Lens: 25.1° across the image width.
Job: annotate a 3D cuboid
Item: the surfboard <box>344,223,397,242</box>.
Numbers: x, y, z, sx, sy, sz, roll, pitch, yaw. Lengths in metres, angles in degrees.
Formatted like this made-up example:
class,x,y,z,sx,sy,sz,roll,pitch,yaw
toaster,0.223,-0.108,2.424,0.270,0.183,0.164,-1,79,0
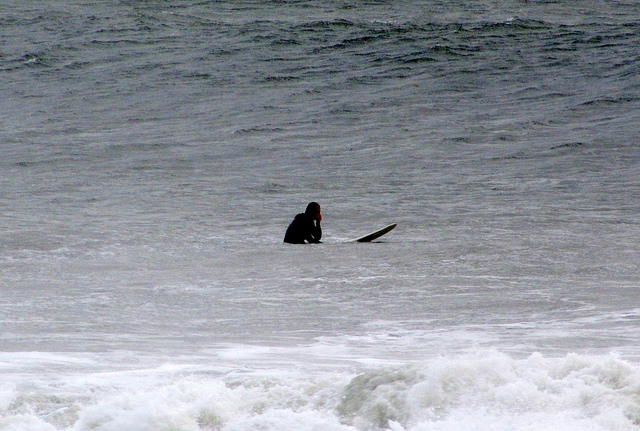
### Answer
class,x,y,z,sx,sy,sz,roll,pitch,yaw
surfboard,2.830,0.874,70.004,4.319,0.339,0.665,-13,-16,-40
